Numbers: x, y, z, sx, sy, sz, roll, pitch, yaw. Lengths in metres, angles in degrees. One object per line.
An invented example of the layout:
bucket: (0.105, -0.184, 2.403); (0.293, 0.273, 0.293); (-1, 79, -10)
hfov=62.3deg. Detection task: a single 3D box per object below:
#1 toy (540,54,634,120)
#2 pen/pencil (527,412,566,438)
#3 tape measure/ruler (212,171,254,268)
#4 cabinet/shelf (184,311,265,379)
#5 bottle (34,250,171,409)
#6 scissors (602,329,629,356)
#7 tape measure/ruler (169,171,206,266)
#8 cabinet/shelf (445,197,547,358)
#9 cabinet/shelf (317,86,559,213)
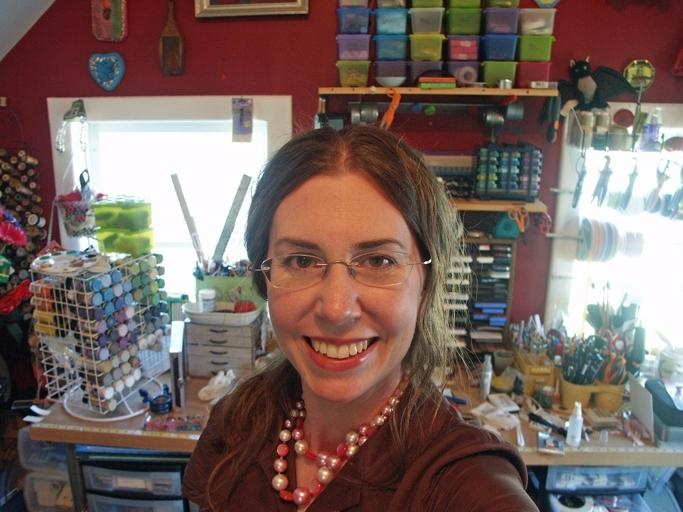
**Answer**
toy: (1.264, -0.840, 2.891); (0.371, 0.349, 0.187); (1, 18, -8)
pen/pencil: (0.879, 0.733, 2.435); (0.099, 0.026, 0.023); (31, 32, 25)
tape measure/ruler: (-0.541, -0.167, 2.851); (0.167, 0.510, 0.100); (8, 20, 24)
cabinet/shelf: (-0.581, 0.426, 2.775); (0.321, 0.280, 0.231); (3, 19, -1)
bottle: (-1.051, 0.343, 2.538); (0.366, 0.978, 0.356); (1, 12, 0)
scissors: (1.273, 0.412, 2.653); (0.088, 0.121, 0.047); (-29, -20, -14)
tape measure/ruler: (-0.859, -0.230, 3.174); (0.069, 0.540, 0.074); (-12, 14, 5)
cabinet/shelf: (0.779, -0.002, 2.861); (0.552, 0.896, 0.353); (4, 17, 12)
cabinet/shelf: (0.462, -0.466, 2.402); (1.046, 0.504, 0.212); (2, 15, 0)
